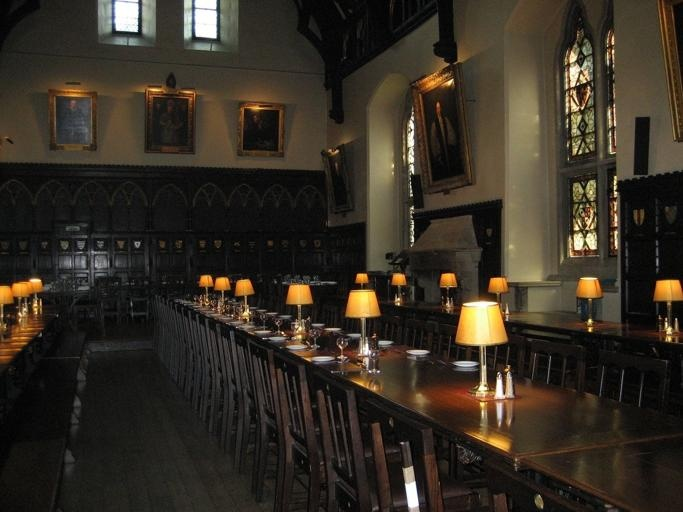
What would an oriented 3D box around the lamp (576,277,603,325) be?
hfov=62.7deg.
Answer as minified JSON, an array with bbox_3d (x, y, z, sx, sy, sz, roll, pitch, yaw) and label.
[{"bbox_3d":[2.690,0.474,6.074,0.225,0.575,0.680,-4,7,25],"label":"lamp"}]

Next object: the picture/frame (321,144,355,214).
[{"bbox_3d":[-0.174,-2.062,15.256,0.139,1.735,1.339,-3,13,24],"label":"picture/frame"}]

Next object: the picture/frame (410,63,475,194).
[{"bbox_3d":[1.857,-2.334,10.481,0.196,2.177,1.489,-9,7,-24],"label":"picture/frame"}]

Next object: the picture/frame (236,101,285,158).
[{"bbox_3d":[-2.315,-3.538,15.472,1.426,1.640,0.140,1,-1,-21],"label":"picture/frame"}]
